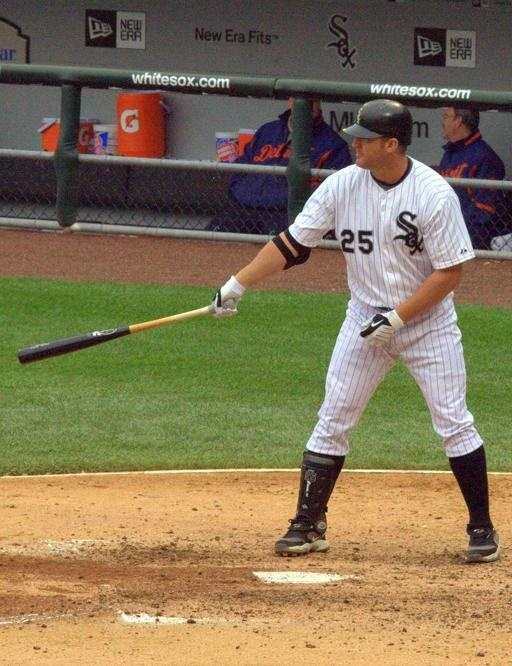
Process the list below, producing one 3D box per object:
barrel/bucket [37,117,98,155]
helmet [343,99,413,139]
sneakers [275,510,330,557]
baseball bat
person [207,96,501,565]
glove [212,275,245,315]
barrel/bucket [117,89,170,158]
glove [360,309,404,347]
[{"bbox_3d":[-1.461,-1.553,8.426,0.421,0.312,0.577,3,2,-10],"label":"barrel/bucket"},{"bbox_3d":[0.357,-0.623,3.158,0.185,0.074,0.125,3,13,-4],"label":"helmet"},{"bbox_3d":[0.203,0.645,3.367,0.230,0.144,0.080,11,-13,-43],"label":"sneakers"},{"bbox_3d":[-0.624,0.013,5.284,0.967,0.085,0.117,-14,14,5],"label":"baseball bat"},{"bbox_3d":[0.344,0.013,3.282,0.827,1.419,0.346,6,3,24],"label":"person"},{"bbox_3d":[-0.085,-0.107,3.451,0.087,0.137,0.054,40,22,-12],"label":"glove"},{"bbox_3d":[-0.896,-1.685,8.733,0.479,0.544,0.329,3,3,-22],"label":"barrel/bucket"},{"bbox_3d":[0.361,-0.002,3.142,0.083,0.059,0.171,-42,15,-36],"label":"glove"}]
